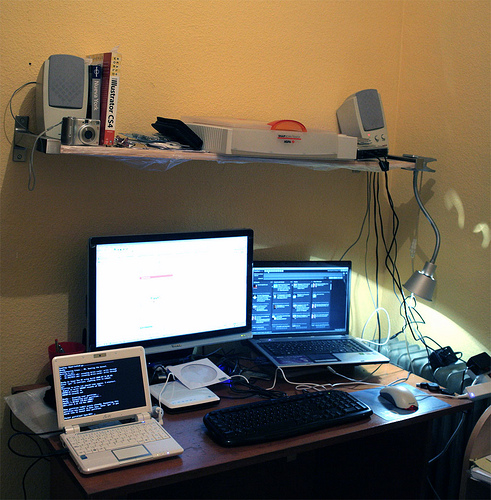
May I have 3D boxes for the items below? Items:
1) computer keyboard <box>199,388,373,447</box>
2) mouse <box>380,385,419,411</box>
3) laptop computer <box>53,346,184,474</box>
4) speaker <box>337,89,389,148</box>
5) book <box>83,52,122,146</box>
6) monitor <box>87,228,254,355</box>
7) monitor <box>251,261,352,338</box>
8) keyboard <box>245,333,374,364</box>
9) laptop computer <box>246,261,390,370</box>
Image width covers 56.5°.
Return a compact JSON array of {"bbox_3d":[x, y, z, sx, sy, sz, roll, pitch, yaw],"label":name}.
[{"bbox_3d":[0.081,0.431,1.171,0.233,0.031,0.095,-3,11,-31],"label":"computer keyboard"},{"bbox_3d":[0.449,0.429,1.327,0.049,0.029,0.089,-4,15,-26],"label":"mouse"},{"bbox_3d":[-0.303,0.332,1.133,0.358,0.197,0.347,0,6,-33],"label":"laptop computer"},{"bbox_3d":[0.417,-0.480,1.652,0.226,0.205,0.070,12,11,34],"label":"speaker"},{"bbox_3d":[-0.380,-0.384,1.168,0.127,0.230,0.072,13,12,37],"label":"book"},{"bbox_3d":[-0.204,0.122,1.401,0.544,0.377,0.047,0,11,-31],"label":"monitor"},{"bbox_3d":[0.210,0.182,1.656,0.449,0.263,0.014,2,-4,-28],"label":"monitor"},{"bbox_3d":[0.221,0.327,1.587,0.423,0.038,0.214,1,10,-24],"label":"keyboard"},{"bbox_3d":[0.241,0.215,1.528,0.441,0.261,0.313,2,8,-12],"label":"laptop computer"}]
